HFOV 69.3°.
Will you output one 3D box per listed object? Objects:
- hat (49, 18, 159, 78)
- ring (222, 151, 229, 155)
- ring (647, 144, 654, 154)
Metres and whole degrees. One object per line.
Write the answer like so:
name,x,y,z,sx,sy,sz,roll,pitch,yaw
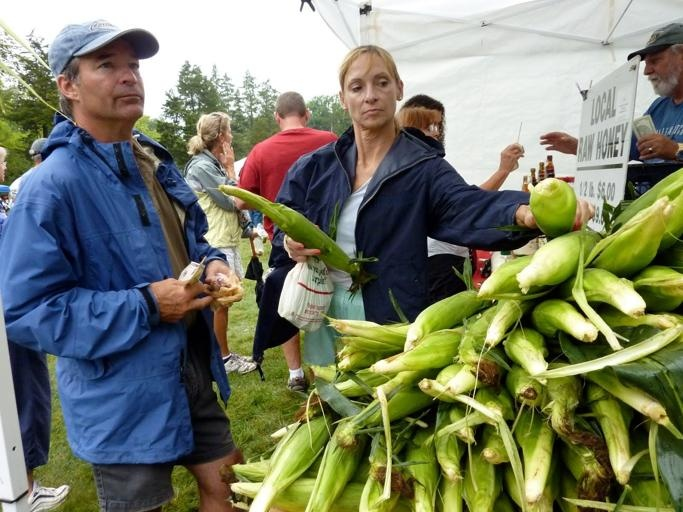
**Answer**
hat,-1.167,-1.030,2.449,0.526,0.193,0.253,-11,7,-27
ring,-1.403,-1.248,5.986,0.052,0.044,0.015,1,-2,-28
ring,2.401,-0.819,3.833,0.010,0.043,0.039,-13,8,-30
